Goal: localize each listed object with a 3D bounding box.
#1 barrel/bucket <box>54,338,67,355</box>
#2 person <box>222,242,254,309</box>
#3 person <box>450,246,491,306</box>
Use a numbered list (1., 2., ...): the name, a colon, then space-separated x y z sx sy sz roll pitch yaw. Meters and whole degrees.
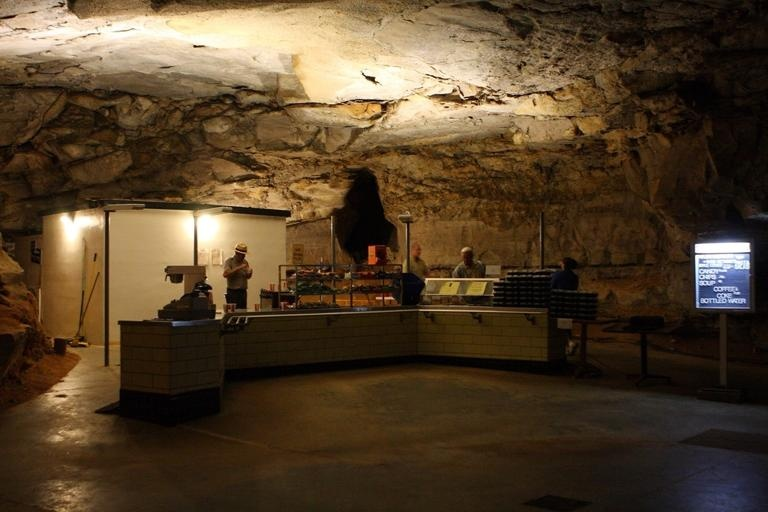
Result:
1. barrel/bucket: -6.267 1.738 12.047 0.192 0.317 0.233 -2 1 12
2. person: -2.866 0.379 12.184 0.509 1.211 0.993 -3 1 -12
3. person: 1.652 0.439 12.894 1.154 1.071 1.039 -2 -4 18
